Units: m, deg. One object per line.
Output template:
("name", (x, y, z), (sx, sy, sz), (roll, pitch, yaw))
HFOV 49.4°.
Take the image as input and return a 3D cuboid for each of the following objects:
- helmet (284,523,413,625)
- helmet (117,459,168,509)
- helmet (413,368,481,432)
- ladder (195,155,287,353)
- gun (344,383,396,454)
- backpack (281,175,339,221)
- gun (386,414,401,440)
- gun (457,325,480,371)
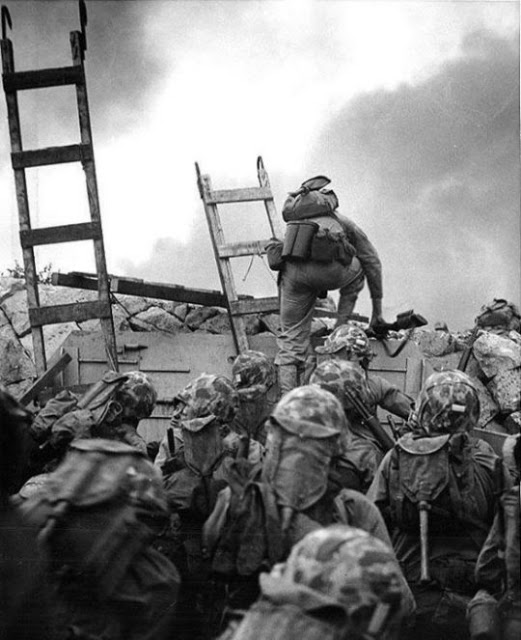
("helmet", (0.208, 0.595, 1.325), (0.304, 0.228, 0.194), (12, 1, 5))
("helmet", (-0.313, 0.436, 1.503), (0.081, 0.148, 0.130), (-3, -7, -8))
("helmet", (1.014, 0.472, 3.089), (0.284, 0.399, 0.410), (9, -7, -14))
("ladder", (-0.126, -0.684, 6.399), (0.755, 3.002, 0.274), (-5, -27, -15))
("gun", (0.707, 0.647, 3.713), (0.084, 0.522, 0.182), (-28, 6, 34))
("backpack", (0.543, -1.339, 6.287), (0.597, 0.387, 0.890), (-7, 12, 10))
("gun", (1.027, 0.842, 4.404), (0.068, 0.104, 0.508), (-9, -40, 14))
("gun", (2.234, 0.306, 6.106), (0.062, 0.564, 0.061), (5, -25, 36))
